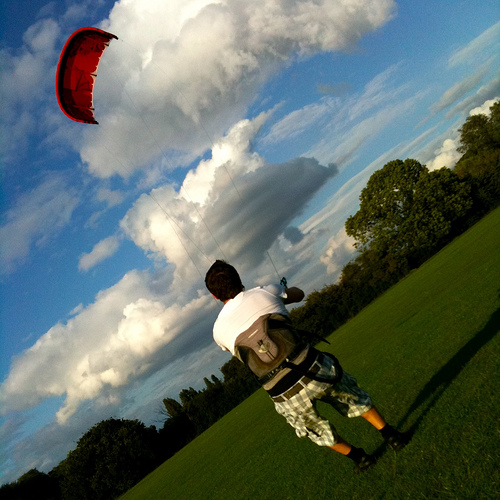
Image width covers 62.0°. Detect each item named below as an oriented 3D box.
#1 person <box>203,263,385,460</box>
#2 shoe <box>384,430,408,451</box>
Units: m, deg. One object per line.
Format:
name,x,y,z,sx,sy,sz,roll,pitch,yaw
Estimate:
person,0.712,1.600,5.773,1.233,3.688,1.190,-34,14,15
shoe,1.964,2.569,5.610,0.182,0.237,0.249,-6,-17,5
